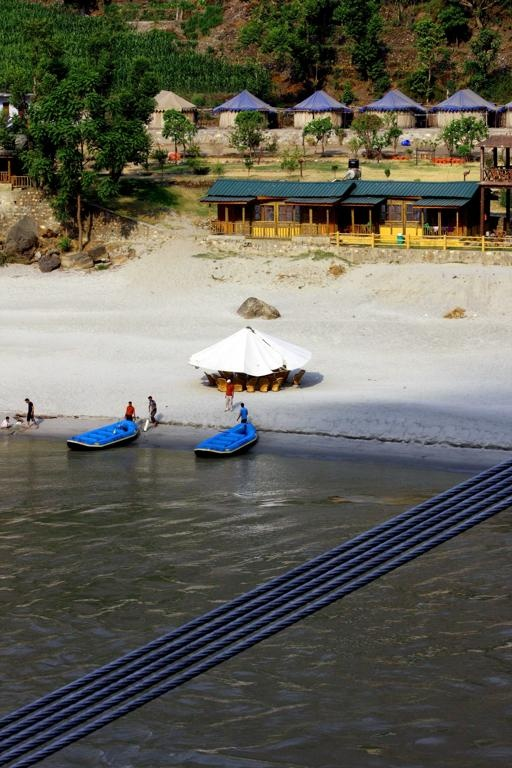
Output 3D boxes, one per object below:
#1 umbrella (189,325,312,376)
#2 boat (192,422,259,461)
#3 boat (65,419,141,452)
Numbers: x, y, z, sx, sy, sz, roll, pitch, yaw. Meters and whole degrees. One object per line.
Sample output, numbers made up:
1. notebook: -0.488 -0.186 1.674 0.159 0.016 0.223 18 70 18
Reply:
1. umbrella: 0.155 -0.880 43.136 3.716 1.648 2.848 1 13 39
2. boat: -0.768 1.727 38.050 1.054 0.461 2.345 6 16 27
3. boat: -4.450 1.588 39.195 0.895 0.451 1.739 7 14 34
